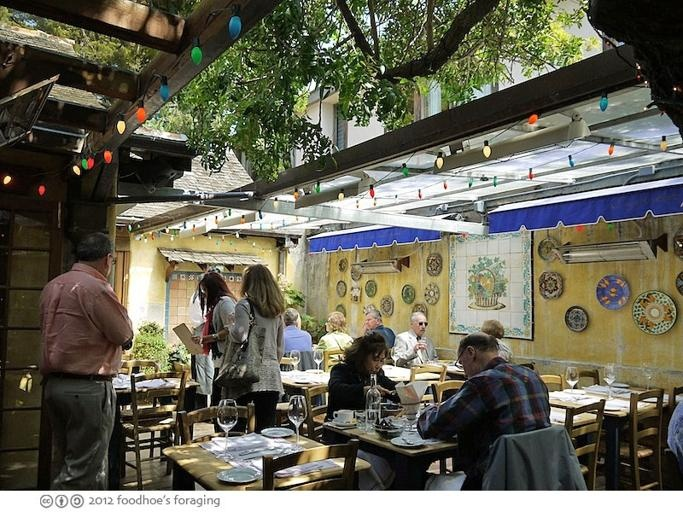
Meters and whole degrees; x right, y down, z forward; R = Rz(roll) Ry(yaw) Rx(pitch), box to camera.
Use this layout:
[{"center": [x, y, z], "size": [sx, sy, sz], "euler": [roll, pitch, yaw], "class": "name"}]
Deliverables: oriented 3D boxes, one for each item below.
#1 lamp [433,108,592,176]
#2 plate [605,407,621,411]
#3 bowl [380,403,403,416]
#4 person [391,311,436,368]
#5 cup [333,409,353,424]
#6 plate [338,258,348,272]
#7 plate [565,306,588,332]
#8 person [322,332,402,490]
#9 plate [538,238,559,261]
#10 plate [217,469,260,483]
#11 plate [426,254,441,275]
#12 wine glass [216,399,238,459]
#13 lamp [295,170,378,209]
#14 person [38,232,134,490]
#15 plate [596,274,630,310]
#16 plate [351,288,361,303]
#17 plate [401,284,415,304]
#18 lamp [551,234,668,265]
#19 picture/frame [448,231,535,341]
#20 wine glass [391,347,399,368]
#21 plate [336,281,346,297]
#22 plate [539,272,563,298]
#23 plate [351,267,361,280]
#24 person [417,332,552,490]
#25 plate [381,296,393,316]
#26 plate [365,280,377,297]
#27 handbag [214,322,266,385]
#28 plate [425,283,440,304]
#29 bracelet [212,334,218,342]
[{"center": [1.761, -1.197, 5.970], "size": [0.492, 0.317, 1.781], "euler": [7, -12, -29], "class": "lamp"}, {"center": [3.131, 1.751, 6.611], "size": [0.166, 0.042, 0.253], "euler": [-2, -11, 20], "class": "plate"}, {"center": [0.467, 1.394, 5.229], "size": [0.171, 0.115, 0.158], "euler": [2, -10, 0], "class": "bowl"}, {"center": [1.355, 1.504, 10.585], "size": [0.869, 1.365, 0.707], "euler": [7, -18, -27], "class": "person"}, {"center": [0.003, 1.506, 5.427], "size": [0.156, 0.096, 0.116], "euler": [0, -4, 3], "class": "cup"}, {"center": [0.026, 0.090, 15.111], "size": [0.061, 0.305, 0.302], "euler": [8, 2, -35], "class": "plate"}, {"center": [3.934, 0.985, 9.632], "size": [0.075, 0.468, 0.431], "euler": [7, -12, -29], "class": "plate"}, {"center": [0.202, 1.529, 5.951], "size": [0.739, 1.532, 1.004], "euler": [4, 0, -21], "class": "person"}, {"center": [3.632, -0.224, 10.156], "size": [0.075, 0.335, 0.328], "euler": [1, 15, -35], "class": "plate"}, {"center": [-0.710, 1.525, 3.961], "size": [0.246, 0.067, 0.269], "euler": [10, -13, -38], "class": "plate"}, {"center": [1.997, 0.071, 12.389], "size": [0.087, 0.509, 0.492], "euler": [7, -11, -26], "class": "plate"}, {"center": [-0.921, 1.340, 4.627], "size": [0.157, 0.402, 0.509], "euler": [4, -10, -11], "class": "wine glass"}, {"center": [-0.089, -1.128, 7.866], "size": [1.086, 0.329, 0.308], "euler": [-9, 14, 46], "class": "lamp"}, {"center": [-2.287, 0.896, 5.102], "size": [0.764, 2.367, 0.510], "euler": [7, -12, -26], "class": "person"}, {"center": [4.319, 0.508, 9.162], "size": [0.119, 0.582, 0.558], "euler": [7, -12, -27], "class": "plate"}, {"center": [0.353, 0.867, 14.513], "size": [0.318, 0.325, 0.319], "euler": [3, -2, -25], "class": "plate"}, {"center": [1.497, 0.753, 12.951], "size": [0.084, 0.461, 0.453], "euler": [8, -12, -29], "class": "plate"}, {"center": [4.226, -0.148, 9.098], "size": [0.397, 0.401, 1.336], "euler": [40, -29, -31], "class": "lamp"}, {"center": [2.853, 0.476, 10.746], "size": [0.081, 2.096, 2.055], "euler": [7, -9, -32], "class": "picture/frame"}, {"center": [0.956, 1.717, 9.860], "size": [0.117, 0.307, 0.224], "euler": [-1, 0, 7], "class": "wine glass"}, {"center": [-0.001, 0.723, 15.096], "size": [0.074, 0.445, 0.481], "euler": [7, -12, -28], "class": "plate"}, {"center": [3.654, 0.422, 10.027], "size": [0.062, 0.471, 0.458], "euler": [0, -3, -34], "class": "plate"}, {"center": [0.368, 0.296, 14.489], "size": [0.053, 0.387, 0.331], "euler": [4, -3, -29], "class": "plate"}, {"center": [1.145, 1.293, 4.703], "size": [1.036, 1.383, 0.532], "euler": [-2, -11, 19], "class": "person"}, {"center": [1.071, 1.076, 13.489], "size": [0.076, 0.558, 0.476], "euler": [3, -4, -32], "class": "plate"}, {"center": [0.720, 0.688, 14.068], "size": [0.054, 0.447, 0.462], "euler": [8, -12, -31], "class": "plate"}, {"center": [-1.020, 0.973, 5.909], "size": [0.321, 0.556, 0.407], "euler": [24, -41, -24], "class": "handbag"}, {"center": [1.950, 0.711, 12.353], "size": [0.065, 0.456, 0.446], "euler": [6, -2, -30], "class": "plate"}, {"center": [-1.417, 0.890, 6.485], "size": [0.069, 0.091, 0.088], "euler": [-3, -13, -2], "class": "bracelet"}]
